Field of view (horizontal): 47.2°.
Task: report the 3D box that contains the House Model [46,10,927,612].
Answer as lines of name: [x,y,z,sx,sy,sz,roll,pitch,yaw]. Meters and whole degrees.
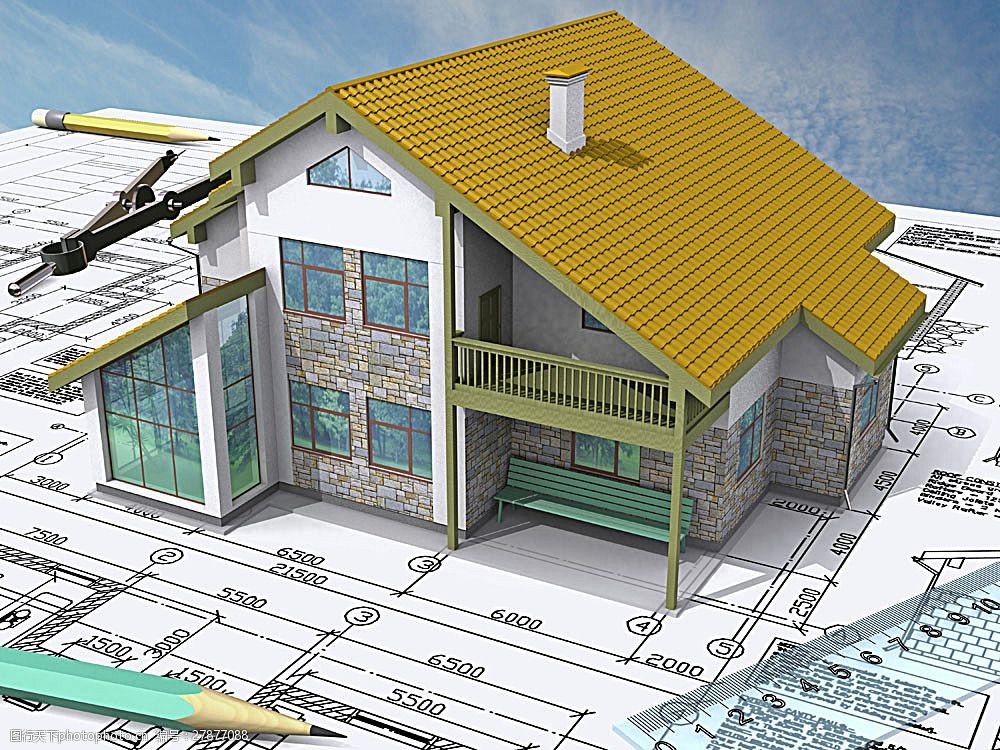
House Model: [3.092,-3.471,28.523,23.280,10.312,11.925,6,20,19]

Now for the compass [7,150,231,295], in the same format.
compass: [-6.632,-2.741,19.544,0.950,1.976,5.010,12,15,15]
